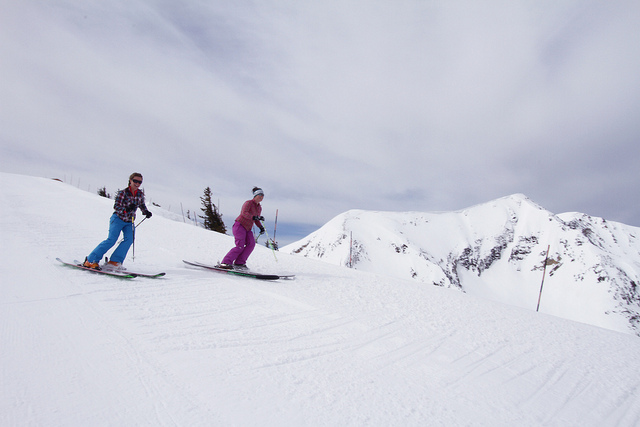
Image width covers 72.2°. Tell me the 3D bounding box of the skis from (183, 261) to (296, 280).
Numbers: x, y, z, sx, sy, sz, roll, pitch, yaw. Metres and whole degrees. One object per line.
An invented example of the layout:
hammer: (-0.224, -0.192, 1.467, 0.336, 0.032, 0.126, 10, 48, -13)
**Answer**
skis: (-2.210, 1.499, 11.506, 1.857, 0.154, 0.269, 7, -28, 6)

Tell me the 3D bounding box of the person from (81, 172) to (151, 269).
person: (-4.607, 0.144, 10.193, 0.563, 2.437, 1.309, 12, -2, 16)

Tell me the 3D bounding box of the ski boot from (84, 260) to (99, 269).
ski boot: (-5.002, 1.103, 9.582, 0.271, 0.169, 0.226, 14, -3, -31)

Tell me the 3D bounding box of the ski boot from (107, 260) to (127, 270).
ski boot: (-4.653, 1.178, 10.010, 0.357, 0.212, 0.452, 14, -3, -38)

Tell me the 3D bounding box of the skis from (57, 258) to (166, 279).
skis: (-4.737, 1.232, 9.785, 2.213, 0.162, 0.251, 6, -2, 3)
